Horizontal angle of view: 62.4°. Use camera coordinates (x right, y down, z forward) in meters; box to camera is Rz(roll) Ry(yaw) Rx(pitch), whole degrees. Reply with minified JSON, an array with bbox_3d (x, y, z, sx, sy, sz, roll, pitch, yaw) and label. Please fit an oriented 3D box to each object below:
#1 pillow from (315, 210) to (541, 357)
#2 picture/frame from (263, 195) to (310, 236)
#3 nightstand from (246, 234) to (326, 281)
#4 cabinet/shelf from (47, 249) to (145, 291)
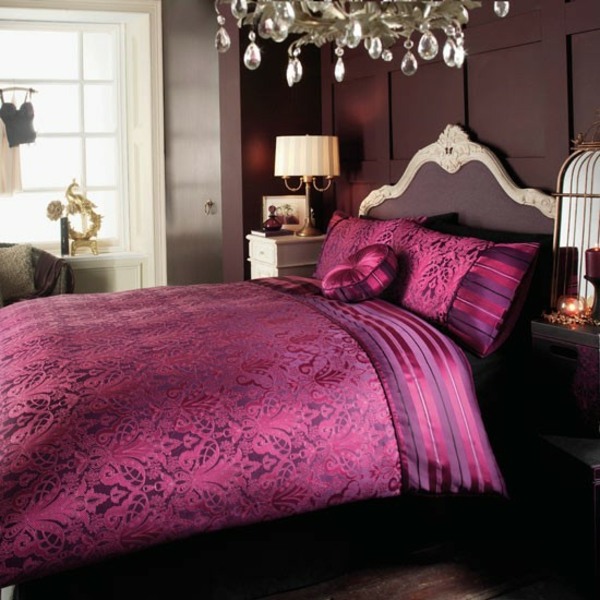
[{"bbox_3d":[0.570,-0.061,2.083,0.257,0.253,0.667,-21,26,-28],"label":"pillow"},{"bbox_3d":[-0.112,-0.673,3.967,0.370,0.297,0.027,-1,2,-7],"label":"picture/frame"},{"bbox_3d":[-0.105,-0.350,3.887,0.400,0.517,0.529,-1,9,-31],"label":"nightstand"},{"bbox_3d":[-1.699,-0.230,4.463,0.883,0.331,0.804,-2,-3,-9],"label":"cabinet/shelf"}]
